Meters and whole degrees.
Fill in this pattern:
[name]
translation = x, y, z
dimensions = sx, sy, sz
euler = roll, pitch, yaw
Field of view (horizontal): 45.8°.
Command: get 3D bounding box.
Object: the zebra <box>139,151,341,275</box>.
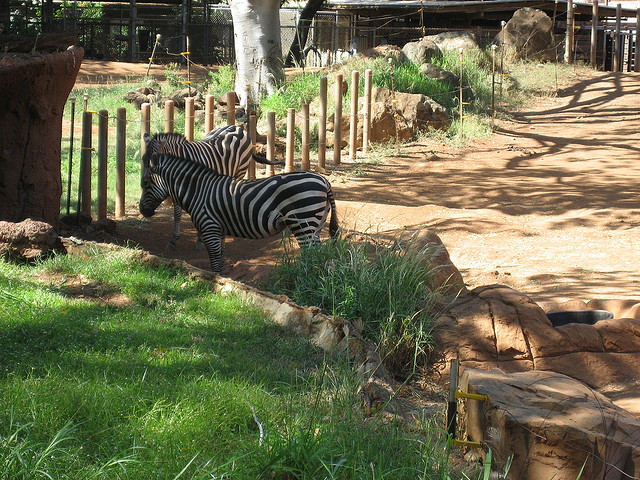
[zebra]
translation = -1.040, -0.318, 9.447
dimensions = 2.477, 1.476, 0.490
euler = 4, 6, 21
